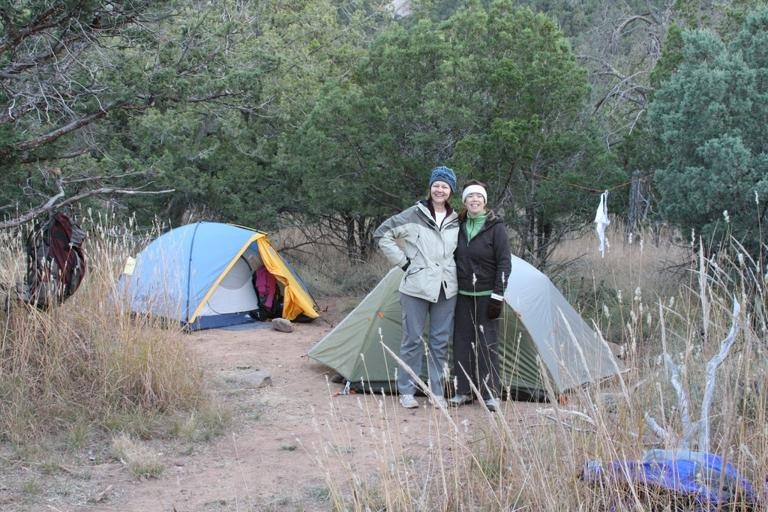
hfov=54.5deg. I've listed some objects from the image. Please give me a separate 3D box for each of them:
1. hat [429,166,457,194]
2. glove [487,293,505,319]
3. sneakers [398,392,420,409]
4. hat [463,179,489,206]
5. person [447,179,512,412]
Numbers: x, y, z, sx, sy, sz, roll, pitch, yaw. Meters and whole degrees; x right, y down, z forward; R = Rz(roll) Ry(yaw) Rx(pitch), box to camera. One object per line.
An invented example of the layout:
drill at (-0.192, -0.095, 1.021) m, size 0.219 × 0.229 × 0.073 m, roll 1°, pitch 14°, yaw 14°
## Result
hat at (0.737, -0.955, 9.355) m, size 0.308 × 0.276 × 0.406 m, roll 5°, pitch 6°, yaw 0°
glove at (1.346, 0.601, 8.923) m, size 0.092 × 0.286 × 0.184 m, roll 6°, pitch -5°, yaw -35°
sneakers at (0.294, 1.799, 9.297) m, size 0.107 × 0.138 × 0.290 m, roll 0°, pitch -5°, yaw -23°
hat at (1.117, -0.779, 9.180) m, size 0.251 × 0.237 × 0.274 m, roll 3°, pitch -2°, yaw 8°
person at (1.171, 0.475, 9.038) m, size 0.663 × 2.743 × 0.759 m, roll 2°, pitch -5°, yaw 6°
